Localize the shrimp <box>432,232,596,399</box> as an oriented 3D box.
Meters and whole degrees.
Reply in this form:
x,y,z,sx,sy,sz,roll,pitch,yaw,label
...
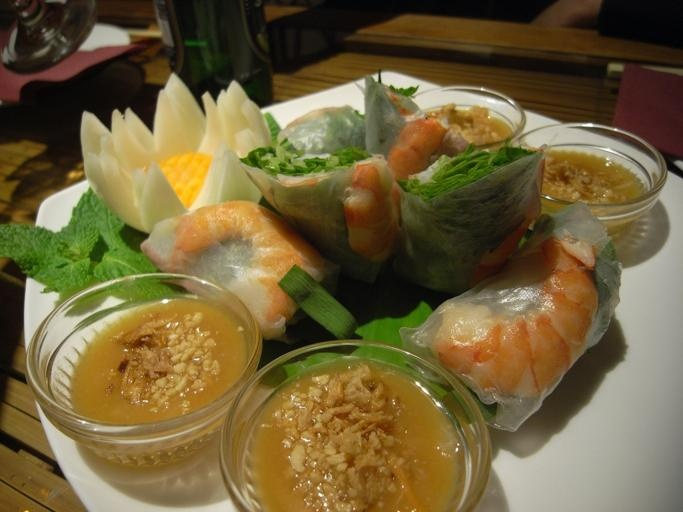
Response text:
x,y,z,sx,sy,sz,roll,pitch,yaw,label
0.550,0.186,1.672,0.436,0.438,0.355,7,19,16,shrimp

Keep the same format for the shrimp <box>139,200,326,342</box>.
x,y,z,sx,sy,sz,roll,pitch,yaw,label
-0.335,-0.008,1.746,0.424,0.172,0.514,-38,82,-14,shrimp
